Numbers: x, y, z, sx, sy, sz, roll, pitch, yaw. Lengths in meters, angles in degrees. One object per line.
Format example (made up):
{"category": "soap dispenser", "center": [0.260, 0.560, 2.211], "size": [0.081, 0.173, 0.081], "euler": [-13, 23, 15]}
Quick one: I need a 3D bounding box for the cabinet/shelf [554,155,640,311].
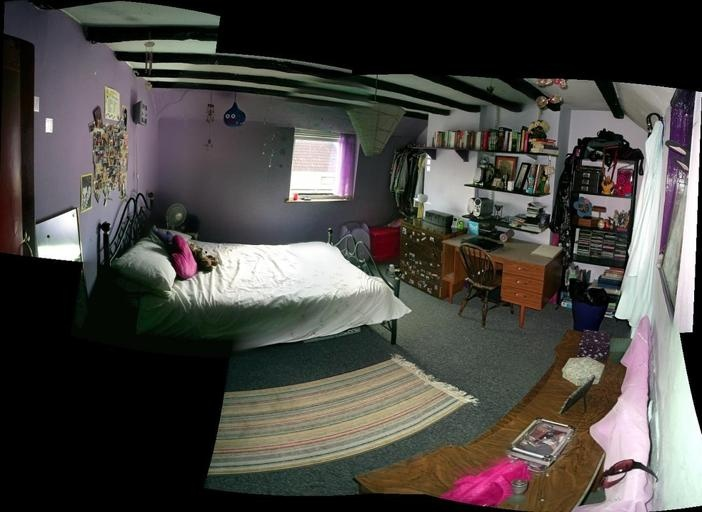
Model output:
{"category": "cabinet/shelf", "center": [2.657, -0.257, 5.068], "size": [0.719, 1.654, 0.561], "euler": [11, 18, 34]}

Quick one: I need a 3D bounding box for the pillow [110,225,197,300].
{"category": "pillow", "center": [-1.669, 0.061, 4.031], "size": [0.583, 0.309, 1.010], "euler": [-2, 16, -12]}

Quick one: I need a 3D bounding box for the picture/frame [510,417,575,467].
{"category": "picture/frame", "center": [0.828, 0.816, 1.997], "size": [0.172, 0.083, 0.301], "euler": [1, 7, 44]}

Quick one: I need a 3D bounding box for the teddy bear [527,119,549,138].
{"category": "teddy bear", "center": [2.034, -1.378, 5.017], "size": [0.205, 0.188, 0.135], "euler": [6, 16, 20]}

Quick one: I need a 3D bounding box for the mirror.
{"category": "mirror", "center": [-1.766, 0.140, 2.902], "size": [0.150, 0.879, 1.204], "euler": [-7, 17, -26]}

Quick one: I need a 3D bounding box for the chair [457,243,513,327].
{"category": "chair", "center": [1.489, 0.254, 5.063], "size": [0.574, 0.868, 0.479], "euler": [-9, 16, -26]}

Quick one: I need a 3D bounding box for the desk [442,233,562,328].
{"category": "desk", "center": [1.663, 0.186, 5.240], "size": [1.196, 0.767, 1.090], "euler": [12, 19, 36]}

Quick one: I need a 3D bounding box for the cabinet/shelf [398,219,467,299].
{"category": "cabinet/shelf", "center": [0.997, -0.019, 5.826], "size": [0.441, 0.765, 0.766], "euler": [-16, 25, -36]}

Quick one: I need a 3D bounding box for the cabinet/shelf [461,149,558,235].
{"category": "cabinet/shelf", "center": [1.897, -0.745, 5.495], "size": [0.959, 0.894, 0.391], "euler": [15, 20, 42]}

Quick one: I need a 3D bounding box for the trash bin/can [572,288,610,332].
{"category": "trash bin/can", "center": [2.363, 0.541, 4.554], "size": [0.344, 0.416, 0.370], "euler": [3, 6, 3]}

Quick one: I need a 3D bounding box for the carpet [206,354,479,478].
{"category": "carpet", "center": [-0.100, 1.106, 3.155], "size": [1.480, 0.200, 0.953], "euler": [-1, 17, -21]}

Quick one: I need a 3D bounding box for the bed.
{"category": "bed", "center": [-0.899, 0.259, 4.125], "size": [1.787, 0.847, 1.852], "euler": [-1, 22, -20]}

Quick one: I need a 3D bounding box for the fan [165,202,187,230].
{"category": "fan", "center": [-1.972, -0.457, 5.269], "size": [0.288, 0.356, 0.127], "euler": [6, 5, 25]}

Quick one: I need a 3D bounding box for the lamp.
{"category": "lamp", "center": [0.164, -0.862, 3.136], "size": [0.346, 0.350, 0.195], "euler": [2, 15, 4]}
